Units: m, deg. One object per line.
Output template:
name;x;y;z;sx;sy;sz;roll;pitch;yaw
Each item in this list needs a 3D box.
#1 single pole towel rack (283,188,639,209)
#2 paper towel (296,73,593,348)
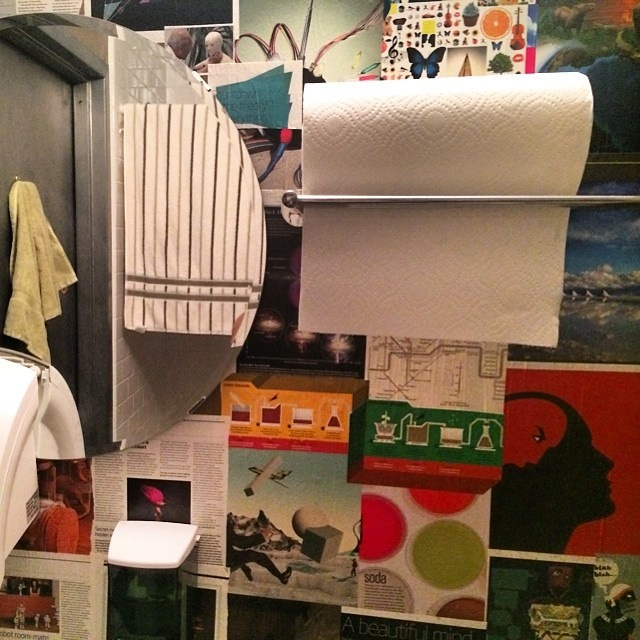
single pole towel rack;0.216;-0.185;1.086;0.556;0.031;0.058;2;3;4
paper towel;0.190;-0.177;1.093;0.560;0.426;0.177;2;21;8
